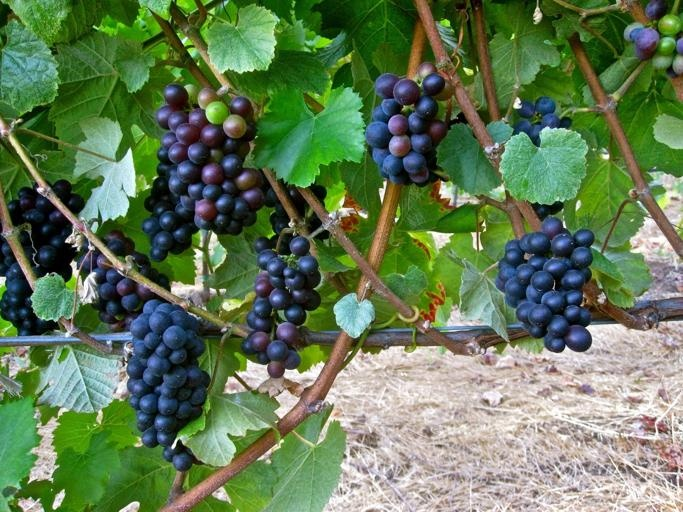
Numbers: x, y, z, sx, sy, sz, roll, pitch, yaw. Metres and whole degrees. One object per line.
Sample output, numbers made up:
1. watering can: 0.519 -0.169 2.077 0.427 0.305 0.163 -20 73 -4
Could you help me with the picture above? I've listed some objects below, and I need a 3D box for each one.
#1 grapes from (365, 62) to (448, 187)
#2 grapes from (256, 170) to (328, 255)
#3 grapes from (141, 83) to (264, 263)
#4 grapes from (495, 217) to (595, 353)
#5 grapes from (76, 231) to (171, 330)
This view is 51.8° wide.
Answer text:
1. grapes: 0.113 -0.251 1.433 0.122 0.245 0.146 -3 35 -14
2. grapes: -0.110 -0.095 1.525 0.087 0.089 0.188 -34 75 -11
3. grapes: -0.291 -0.179 1.500 0.213 0.186 0.408 9 80 65
4. grapes: 0.405 0.040 1.398 0.177 0.110 0.269 -15 70 35
5. grapes: -0.480 0.075 1.548 0.122 0.257 0.135 -33 65 -32
